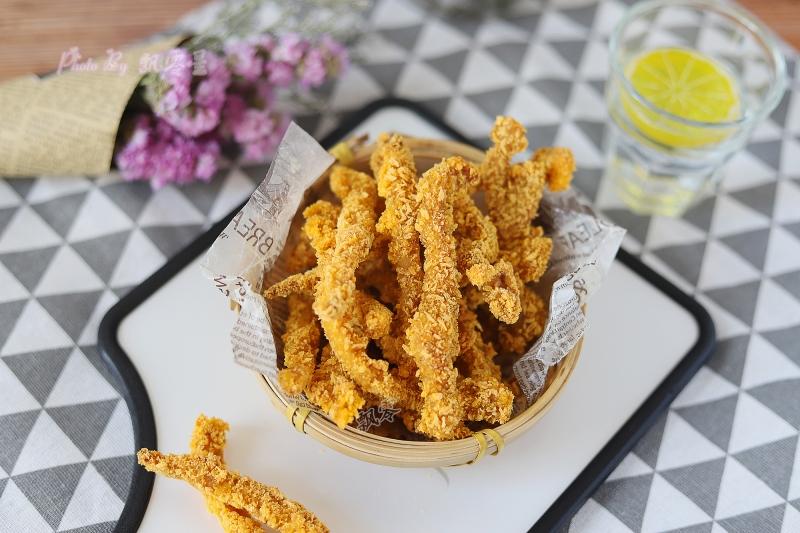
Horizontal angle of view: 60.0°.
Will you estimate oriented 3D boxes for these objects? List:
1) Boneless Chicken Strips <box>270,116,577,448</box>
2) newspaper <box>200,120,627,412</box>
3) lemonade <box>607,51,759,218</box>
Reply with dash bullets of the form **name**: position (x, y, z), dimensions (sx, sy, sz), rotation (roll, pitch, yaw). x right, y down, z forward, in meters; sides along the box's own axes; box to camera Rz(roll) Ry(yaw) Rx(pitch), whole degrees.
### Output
- **Boneless Chicken Strips**: position (0.031, 0.018, 0.988), dimensions (0.379, 0.203, 0.513), rotation (-2, 51, 6)
- **newspaper**: position (0.011, -0.036, 1.035), dimensions (0.416, 0.531, 0.434), rotation (-7, 24, -13)
- **lemonade**: position (0.436, -0.231, 1.108), dimensions (0.169, 0.280, 0.152), rotation (23, 32, 26)
